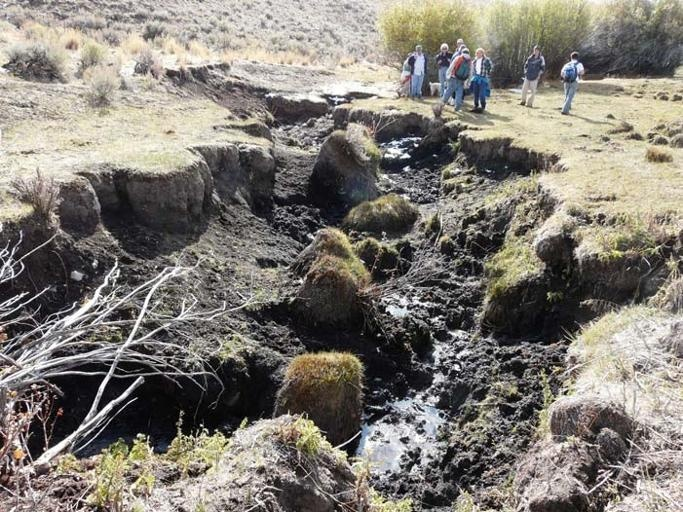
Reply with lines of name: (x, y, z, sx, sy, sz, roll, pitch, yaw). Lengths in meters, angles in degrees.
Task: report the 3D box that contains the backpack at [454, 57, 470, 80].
backpack: (3.541, -5.512, 26.131, 0.383, 0.610, 0.324, -9, 52, -16)
